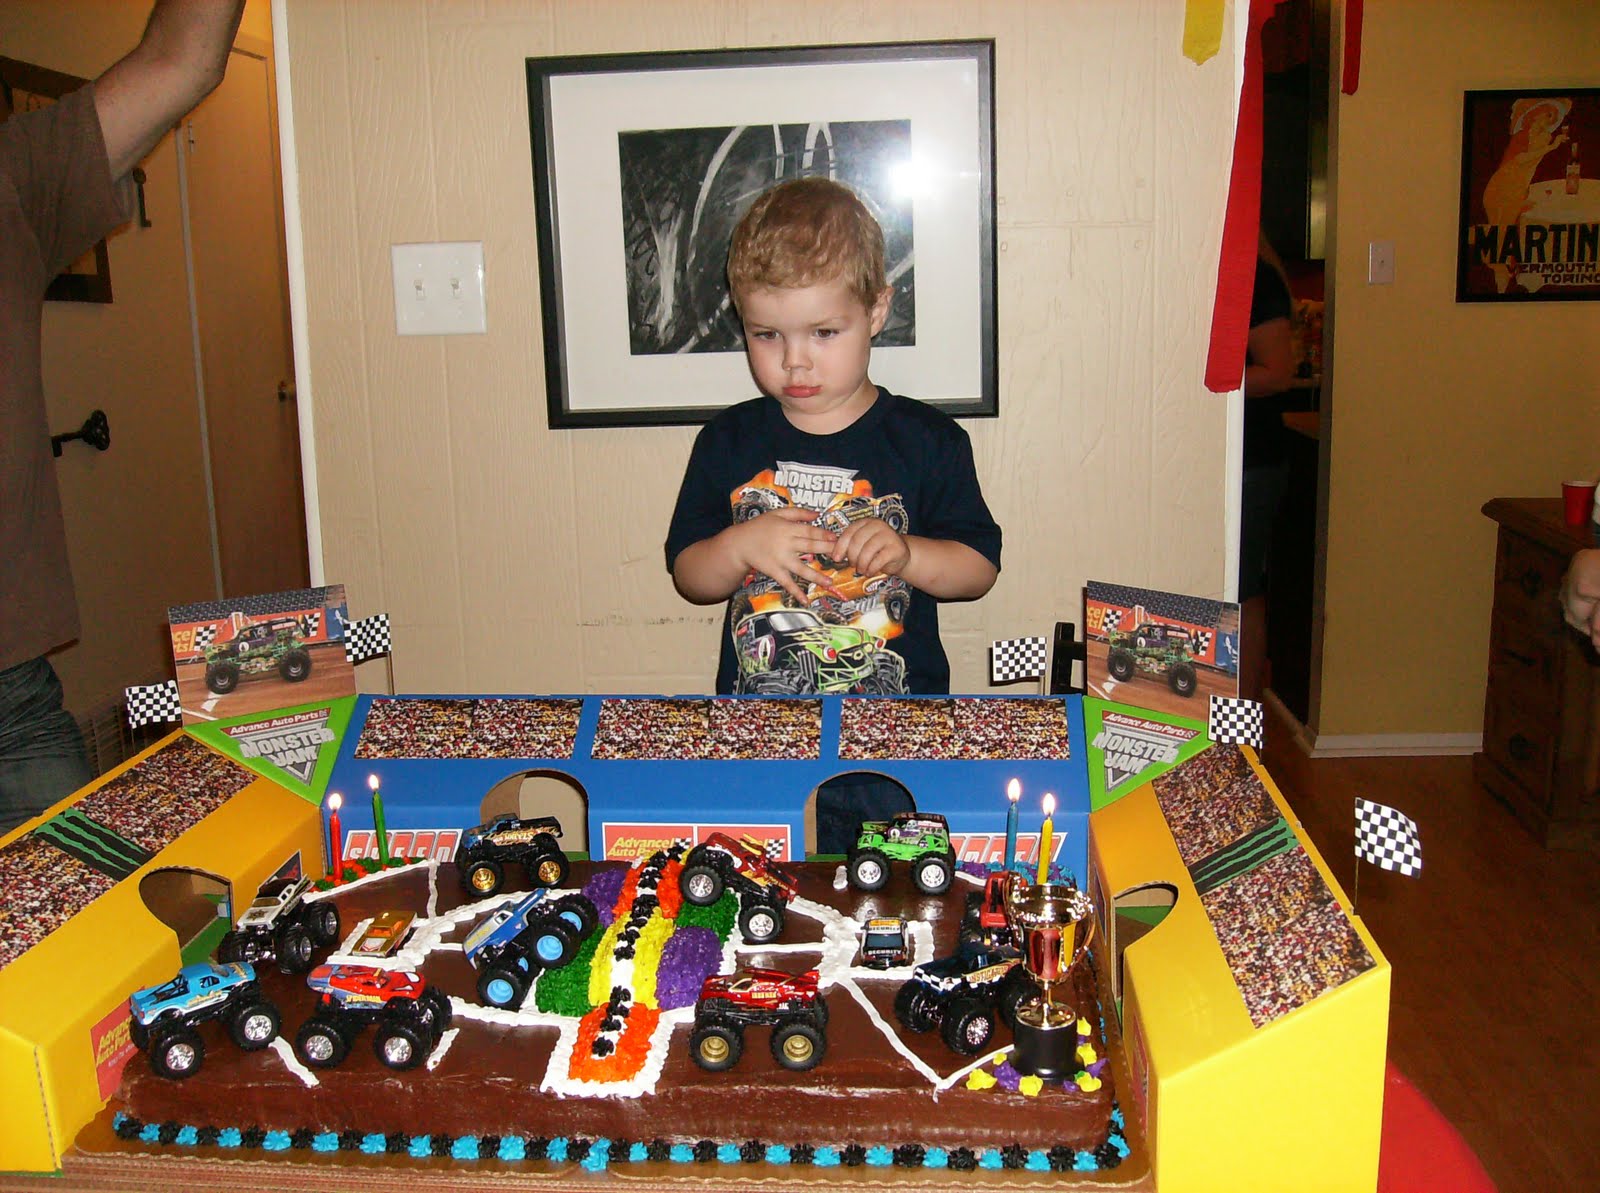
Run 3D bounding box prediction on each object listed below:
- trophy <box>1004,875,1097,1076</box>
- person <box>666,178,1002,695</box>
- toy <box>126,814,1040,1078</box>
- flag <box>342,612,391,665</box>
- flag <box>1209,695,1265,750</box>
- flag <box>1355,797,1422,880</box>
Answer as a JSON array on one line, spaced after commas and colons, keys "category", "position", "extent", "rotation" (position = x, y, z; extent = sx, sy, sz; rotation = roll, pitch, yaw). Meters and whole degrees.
[{"category": "trophy", "position": [0.271, 0.420, 1.334], "extent": [0.151, 0.268, 0.119], "rotation": [0, -10, 9]}, {"category": "person", "position": [0.043, -0.262, 2.141], "extent": [0.359, 1.107, 0.441], "rotation": [-1, 4, 1]}, {"category": "toy", "position": [-0.212, 0.416, 1.437], "extent": [1.067, 0.158, 0.425], "rotation": [-2, 13, 3]}, {"category": "flag", "position": [-0.709, 0.065, 1.963], "extent": [0.007, 0.074, 0.100], "rotation": [-9, 3, 29]}, {"category": "flag", "position": [0.603, 0.173, 1.681], "extent": [0.083, 0.066, 0.007], "rotation": [4, -2, 3]}, {"category": "flag", "position": [0.714, 0.290, 1.473], "extent": [0.068, 0.121, 0.148], "rotation": [3, 14, 25]}]
